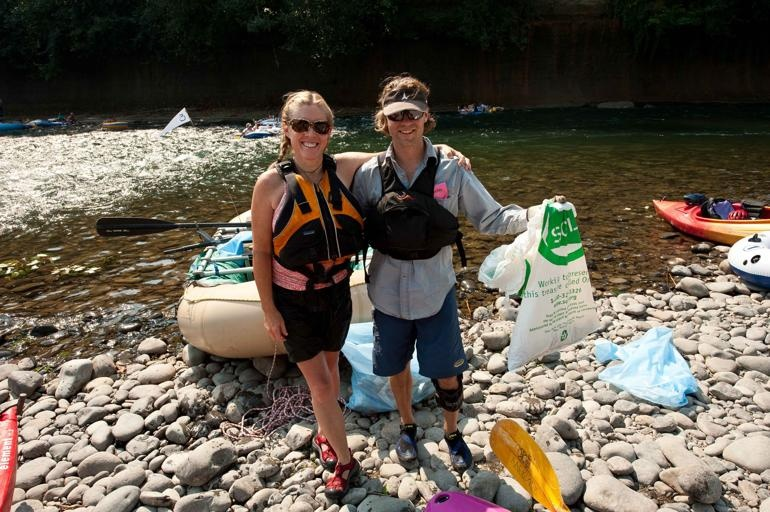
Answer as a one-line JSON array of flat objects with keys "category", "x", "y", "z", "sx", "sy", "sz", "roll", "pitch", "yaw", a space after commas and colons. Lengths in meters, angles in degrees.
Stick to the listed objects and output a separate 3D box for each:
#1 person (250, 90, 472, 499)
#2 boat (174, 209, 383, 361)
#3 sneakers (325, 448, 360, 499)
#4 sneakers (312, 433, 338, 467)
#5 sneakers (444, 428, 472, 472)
[{"category": "person", "x": -0.588, "y": 0.313, "z": 4.296, "sx": 0.753, "sy": 3.185, "sz": 0.917, "roll": 4, "pitch": 19, "yaw": 21}, {"category": "boat", "x": -1.092, "y": 0.446, "z": 6.387, "sx": 2.651, "sy": 0.732, "sz": 2.064, "roll": -5, "pitch": 16, "yaw": 7}, {"category": "sneakers", "x": -0.355, "y": 1.802, "z": 4.410, "sx": 0.197, "sy": 0.168, "sz": 0.407, "roll": 1, "pitch": 21, "yaw": 21}, {"category": "sneakers", "x": -0.516, "y": 1.664, "z": 4.555, "sx": 0.139, "sy": 0.136, "sz": 0.354, "roll": -7, "pitch": 6, "yaw": -25}, {"category": "sneakers", "x": 0.629, "y": 1.656, "z": 4.508, "sx": 0.173, "sy": 0.152, "sz": 0.353, "roll": -25, "pitch": 47, "yaw": 5}]
